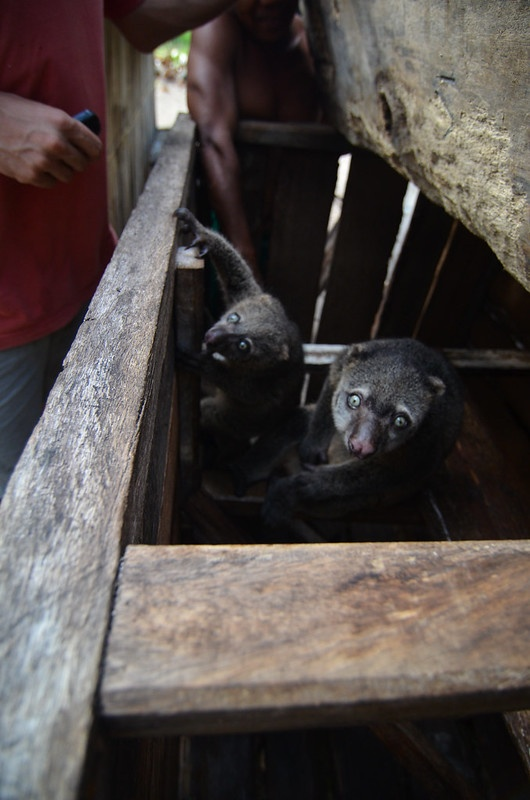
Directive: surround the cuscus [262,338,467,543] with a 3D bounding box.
[{"bbox_3d":[0.438,0.070,2.560,0.570,0.710,1.144,31,24,8],"label":"cuscus"}]
